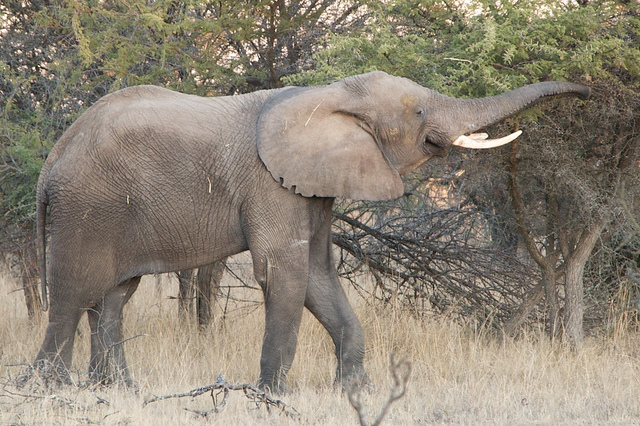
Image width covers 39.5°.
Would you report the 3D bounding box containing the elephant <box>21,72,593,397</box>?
[{"bbox_3d":[-0.357,0.307,10.475,6.299,3.893,2.289,-2,10,-1],"label":"elephant"}]
